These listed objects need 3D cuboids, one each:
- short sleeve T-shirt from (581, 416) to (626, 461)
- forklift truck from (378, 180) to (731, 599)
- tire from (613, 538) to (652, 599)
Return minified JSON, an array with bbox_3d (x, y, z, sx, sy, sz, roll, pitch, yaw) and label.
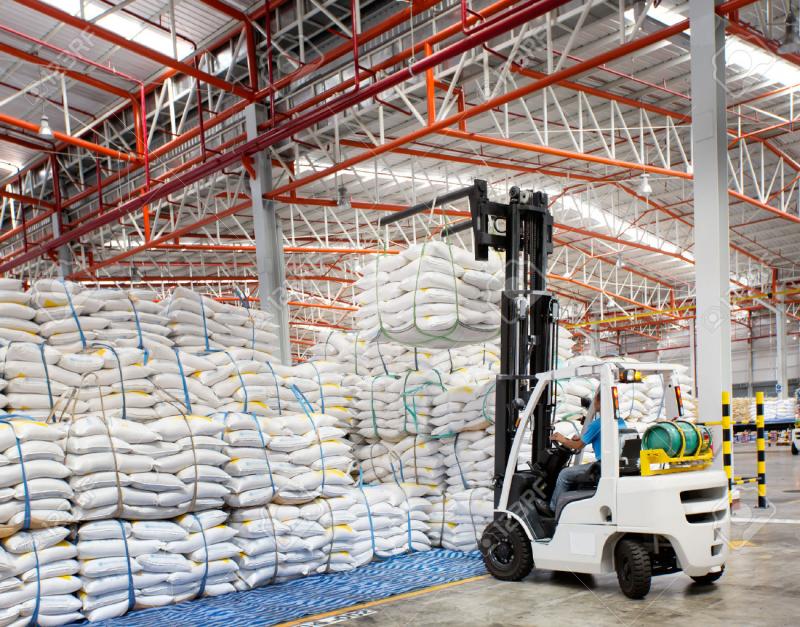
[{"bbox_3d":[2.584,1.564,9.828,0.398,0.538,0.523,-3,-1,-13],"label":"short sleeve T-shirt"},{"bbox_3d":[2.347,0.789,10.141,1.482,5.245,2.790,-3,-1,-43],"label":"forklift truck"},{"bbox_3d":[2.804,3.022,9.387,0.307,0.713,0.386,-3,-1,-11],"label":"tire"}]
